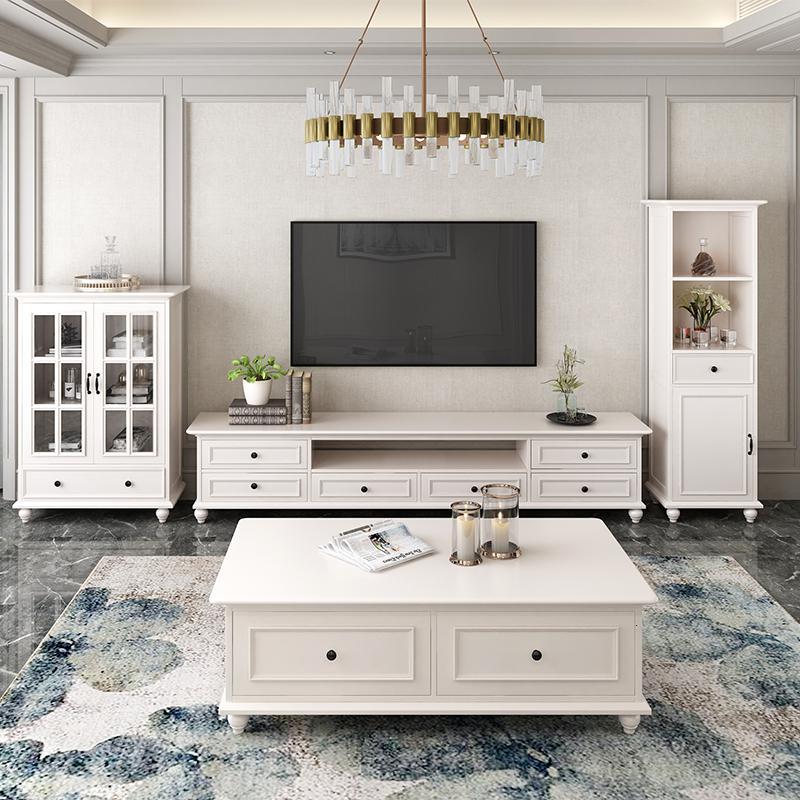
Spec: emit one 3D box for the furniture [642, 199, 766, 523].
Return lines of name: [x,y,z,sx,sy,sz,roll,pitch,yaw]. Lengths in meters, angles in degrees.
furniture: [1.779,-0.254,4.816,0.722,1.872,0.721,2,11,12]

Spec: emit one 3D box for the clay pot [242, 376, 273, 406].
clay pot: [-0.848,-0.044,4.804,0.178,0.112,0.168,0,1,0]

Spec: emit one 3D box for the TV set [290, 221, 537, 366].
TV set: [0.064,-0.655,5.064,1.817,0.886,0.033,6,12,36]

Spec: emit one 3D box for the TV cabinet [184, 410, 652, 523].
TV cabinet: [0.110,0.410,4.806,2.658,0.571,0.550,0,10,-1]

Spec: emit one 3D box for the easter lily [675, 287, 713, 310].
easter lily: [1.766,-0.626,4.888,0.199,0.093,0.176,-3,-2,11]

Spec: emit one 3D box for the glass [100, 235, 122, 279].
glass: [-1.712,-0.854,4.804,0.125,0.263,0.449,-4,10,-19]

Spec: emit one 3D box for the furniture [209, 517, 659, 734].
furniture: [0.098,0.779,2.738,1.394,0.486,0.634,0,10,-1]
